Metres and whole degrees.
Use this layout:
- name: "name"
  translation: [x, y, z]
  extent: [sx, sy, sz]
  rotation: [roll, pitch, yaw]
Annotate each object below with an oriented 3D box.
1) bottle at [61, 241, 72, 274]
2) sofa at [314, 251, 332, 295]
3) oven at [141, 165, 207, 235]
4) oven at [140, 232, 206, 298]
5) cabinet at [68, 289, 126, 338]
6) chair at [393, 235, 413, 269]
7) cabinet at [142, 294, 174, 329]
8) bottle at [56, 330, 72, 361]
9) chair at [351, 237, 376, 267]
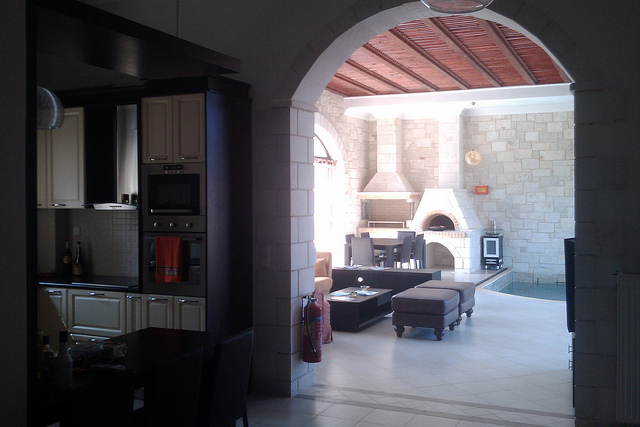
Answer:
- name: "bottle"
  translation: [-3.135, 0.538, 6.009]
  extent: [0.151, 0.391, 0.117]
  rotation: [3, 4, 35]
- name: "sofa"
  translation: [0.075, 1.132, 8.958]
  extent: [0.299, 0.802, 0.954]
  rotation: [0, 3, 1]
- name: "oven"
  translation: [-1.721, -0.145, 5.121]
  extent: [0.594, 0.704, 0.843]
  rotation: [2, 3, 40]
- name: "oven"
  translation: [-1.433, 0.513, 5.152]
  extent: [0.766, 0.619, 0.530]
  rotation: [0, -4, 13]
- name: "cabinet"
  translation: [-2.347, 1.097, 5.452]
  extent: [0.901, 0.537, 0.471]
  rotation: [-1, -2, 21]
- name: "chair"
  translation: [1.908, 0.859, 11.091]
  extent: [0.322, 0.740, 0.558]
  rotation: [2, 4, 22]
- name: "cabinet"
  translation: [-1.654, 1.055, 5.160]
  extent: [0.376, 0.422, 0.324]
  rotation: [1, -2, 4]
- name: "bottle"
  translation: [-1.612, 0.819, 3.039]
  extent: [0.079, 0.186, 0.086]
  rotation: [0, 3, 0]
- name: "chair"
  translation: [0.922, 0.818, 10.674]
  extent: [0.367, 0.613, 0.558]
  rotation: [-2, 4, -30]
